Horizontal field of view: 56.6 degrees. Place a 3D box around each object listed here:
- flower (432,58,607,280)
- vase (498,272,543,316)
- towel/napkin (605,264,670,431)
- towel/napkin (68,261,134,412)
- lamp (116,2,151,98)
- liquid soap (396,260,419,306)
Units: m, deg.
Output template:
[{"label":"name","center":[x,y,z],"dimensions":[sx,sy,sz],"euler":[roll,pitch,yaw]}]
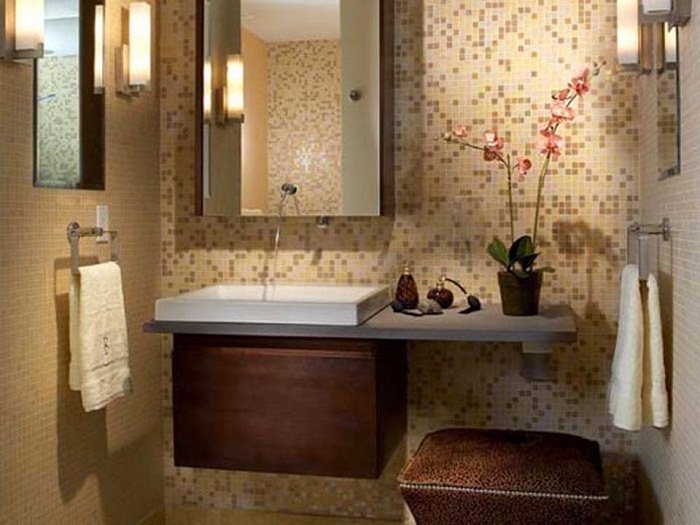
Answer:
[{"label":"flower","center":[0.770,-0.414,2.913],"dimensions":[0.688,0.923,0.584],"euler":[3,14,14]},{"label":"vase","center":[0.723,0.129,2.755],"dimensions":[0.169,0.159,0.177],"euler":[-1,-2,22]},{"label":"towel/napkin","center":[1.127,0.351,2.500],"dimensions":[0.224,0.685,0.367],"euler":[6,16,28]},{"label":"towel/napkin","center":[-1.073,0.302,2.764],"dimensions":[0.259,0.576,0.250],"euler":[-8,16,-28]},{"label":"lamp","center":[-1.018,-1.004,3.068],"dimensions":[0.138,0.429,0.218],"euler":[-2,14,-3]},{"label":"liquid soap","center":[0.261,0.116,2.932],"dimensions":[0.111,0.164,0.164],"euler":[2,15,12]}]
